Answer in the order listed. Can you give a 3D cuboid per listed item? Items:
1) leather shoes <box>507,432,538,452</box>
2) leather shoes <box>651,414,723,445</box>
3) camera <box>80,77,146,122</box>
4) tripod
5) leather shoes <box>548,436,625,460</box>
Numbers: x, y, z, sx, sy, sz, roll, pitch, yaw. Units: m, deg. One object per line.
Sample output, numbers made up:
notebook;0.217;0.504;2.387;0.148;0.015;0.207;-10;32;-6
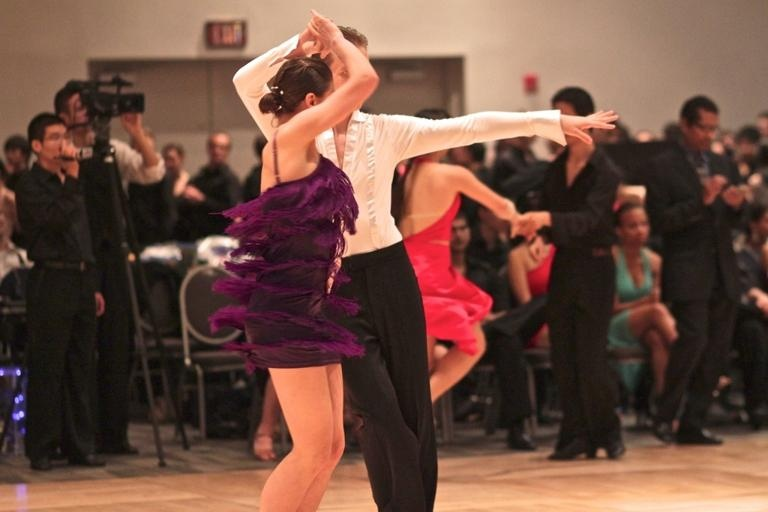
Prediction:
leather shoes;0.757;1.010;5.015;0.171;0.083;0.116;0;7;26
leather shoes;1.682;0.976;5.061;0.434;0.148;0.128;-1;-10;4
camera;-1.460;-0.841;4.871;0.416;0.227;0.127;1;5;20
tripod;-1.331;0.237;4.847;0.375;1.767;0.133;-1;-4;-14
leather shoes;1.101;1.055;4.995;0.447;0.177;0.142;0;-12;1
